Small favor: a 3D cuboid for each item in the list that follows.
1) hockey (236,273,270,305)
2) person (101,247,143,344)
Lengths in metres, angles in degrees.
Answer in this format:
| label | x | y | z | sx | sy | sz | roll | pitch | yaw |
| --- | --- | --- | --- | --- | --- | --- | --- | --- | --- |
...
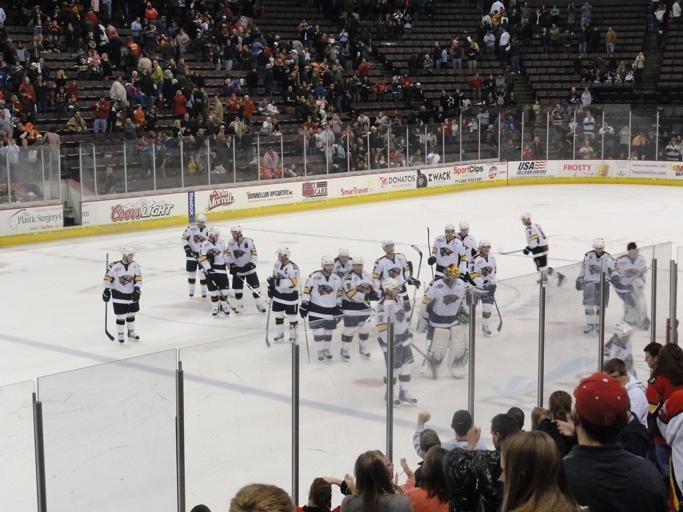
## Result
| label | x | y | z | sx | sy | sz | roll | pitch | yaw |
| --- | --- | --- | --- | --- | --- | --- | --- | --- | --- |
| hockey | -1.806 | 0.692 | 21.363 | 0.530 | 1.030 | 0.346 | -9 | -2 | -10 |
| person | -3.937 | 0.718 | 19.095 | 0.729 | 1.626 | 0.498 | 0 | 3 | -11 |
